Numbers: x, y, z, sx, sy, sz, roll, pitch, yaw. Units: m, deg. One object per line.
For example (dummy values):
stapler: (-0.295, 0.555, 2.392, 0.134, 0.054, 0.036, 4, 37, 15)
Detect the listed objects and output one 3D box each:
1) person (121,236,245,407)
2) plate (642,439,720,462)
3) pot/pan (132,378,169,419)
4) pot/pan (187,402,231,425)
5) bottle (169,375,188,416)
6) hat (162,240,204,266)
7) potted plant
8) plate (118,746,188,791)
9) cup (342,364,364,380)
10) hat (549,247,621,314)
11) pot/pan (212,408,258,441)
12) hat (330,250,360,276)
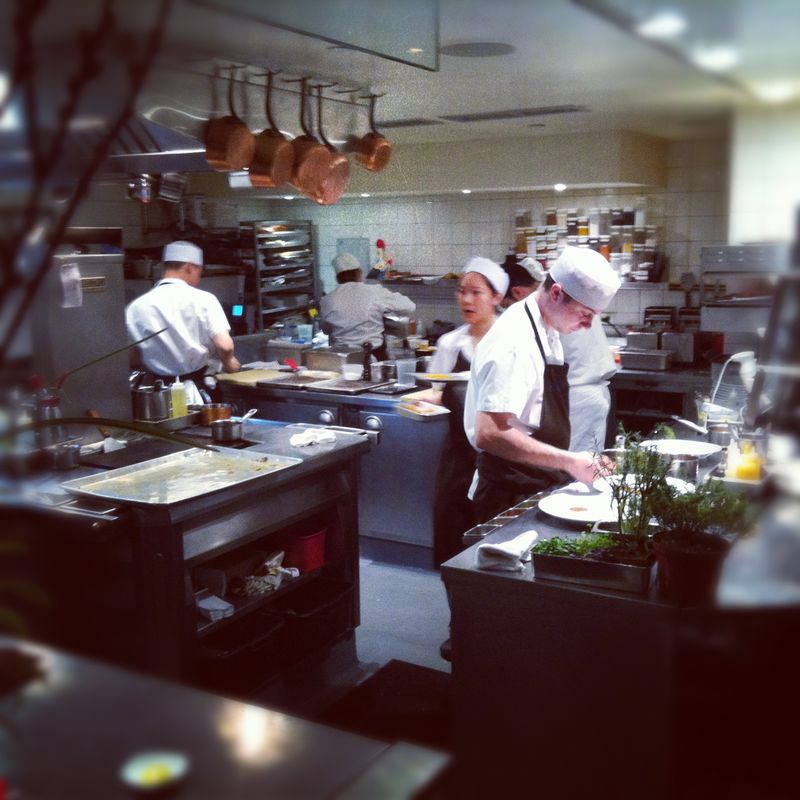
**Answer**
person: (-1.399, -0.513, 4.780, 0.534, 1.025, 0.499, 1, 11, 22)
plate: (0.939, 0.161, 2.387, 0.236, 0.028, 0.197, -1, 8, -4)
pot/pan: (-1.051, 0.006, 3.183, 0.189, 0.157, 0.217, 0, 3, -5)
pot/pan: (-0.831, 0.063, 3.150, 0.154, 0.045, 0.119, -4, 0, 32)
bottle: (-0.977, 0.000, 3.212, 0.081, 0.139, 0.240, -6, 9, -17)
hat: (-1.434, -0.976, 4.875, 0.229, 0.101, 0.201, 5, 11, 19)
potted plant: (0.588, 0.232, 1.650, 0.405, 0.199, 0.395, 4, 9, 31)
plate: (-0.293, 0.444, 0.877, 0.079, 0.013, 0.077, -4, 8, -17)
cup: (-0.281, -0.164, 4.468, 0.121, 0.061, 0.105, 0, 3, 16)
hat: (0.582, -0.401, 2.487, 0.230, 0.124, 0.248, -16, 53, -42)
pot/pan: (-0.673, 0.112, 2.971, 0.112, 0.073, 0.196, 3, 5, 28)
hat: (-0.463, -1.190, 6.445, 0.281, 0.155, 0.340, -15, 7, -6)
